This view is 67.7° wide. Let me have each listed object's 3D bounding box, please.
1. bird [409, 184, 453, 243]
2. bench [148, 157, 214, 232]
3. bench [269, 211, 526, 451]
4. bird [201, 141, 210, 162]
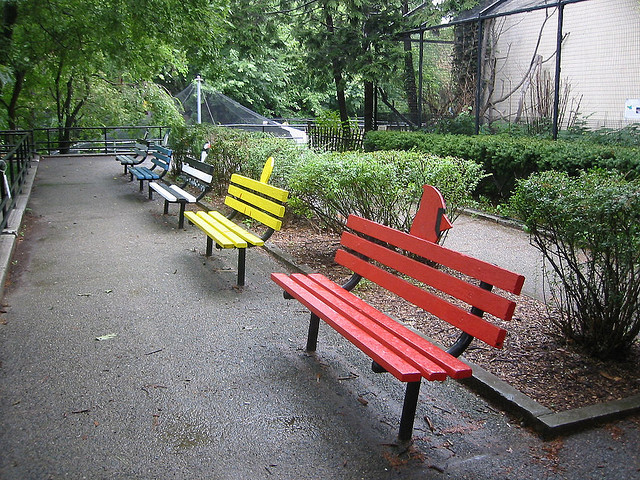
[{"bbox_3d":[1.030,-0.238,4.411,0.225,0.490,0.469,0,15,-11],"label":"bird"},{"bbox_3d":[-2.899,-0.928,9.945,0.723,0.982,2.007,-3,17,-23],"label":"bench"},{"bbox_3d":[0.641,0.844,4.318,0.632,0.985,1.620,12,12,-28],"label":"bench"},{"bbox_3d":[-2.488,-1.928,10.322,0.146,0.560,0.218,13,-4,-29],"label":"bird"}]
